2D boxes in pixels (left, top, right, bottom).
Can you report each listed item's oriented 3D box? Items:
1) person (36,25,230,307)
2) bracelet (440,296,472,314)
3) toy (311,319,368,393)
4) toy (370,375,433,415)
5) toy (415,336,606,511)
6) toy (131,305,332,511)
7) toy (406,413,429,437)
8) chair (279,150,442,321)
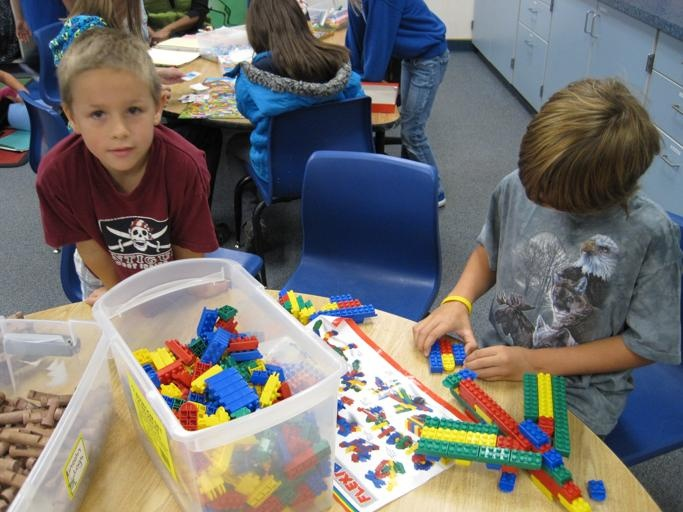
[{"bbox_3d":[-0.613,-0.166,1.545,0.431,0.964,0.329,-1,37,-15],"label":"person"},{"bbox_3d":[0.319,0.124,1.425,0.052,0.017,0.058,6,12,-4],"label":"bracelet"},{"bbox_3d":[-0.003,0.242,1.301,0.089,0.026,0.153,-20,65,-24],"label":"toy"},{"bbox_3d":[0.140,0.314,1.167,0.058,0.024,0.072,-20,59,-17],"label":"toy"},{"bbox_3d":[0.316,0.318,1.046,0.220,0.081,0.272,9,39,16],"label":"toy"},{"bbox_3d":[-0.215,0.192,1.009,0.259,0.204,0.389,-14,30,-28],"label":"toy"},{"bbox_3d":[0.158,0.354,1.120,0.038,0.013,0.039,2,23,35],"label":"toy"},{"bbox_3d":[0.074,0.006,1.995,0.486,0.506,0.471,3,58,0],"label":"chair"}]
